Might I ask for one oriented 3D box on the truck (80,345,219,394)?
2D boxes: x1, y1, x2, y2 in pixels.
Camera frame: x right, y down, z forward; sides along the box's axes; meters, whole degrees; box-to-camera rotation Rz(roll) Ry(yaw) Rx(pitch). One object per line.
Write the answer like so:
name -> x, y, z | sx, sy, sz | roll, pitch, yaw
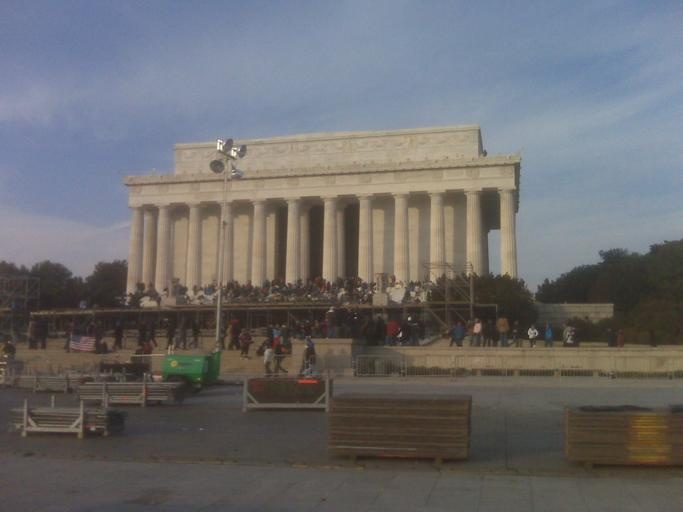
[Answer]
truck -> -6.732, 4.458, 32.905 | 3.393, 1.630, 2.654 | -3, -7, 13
